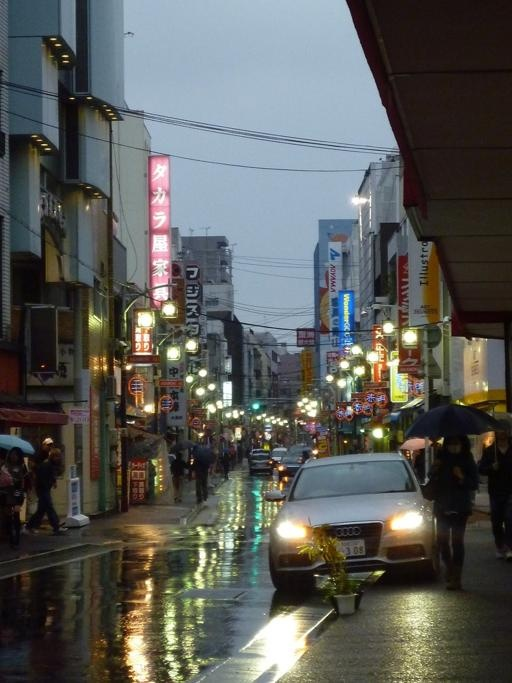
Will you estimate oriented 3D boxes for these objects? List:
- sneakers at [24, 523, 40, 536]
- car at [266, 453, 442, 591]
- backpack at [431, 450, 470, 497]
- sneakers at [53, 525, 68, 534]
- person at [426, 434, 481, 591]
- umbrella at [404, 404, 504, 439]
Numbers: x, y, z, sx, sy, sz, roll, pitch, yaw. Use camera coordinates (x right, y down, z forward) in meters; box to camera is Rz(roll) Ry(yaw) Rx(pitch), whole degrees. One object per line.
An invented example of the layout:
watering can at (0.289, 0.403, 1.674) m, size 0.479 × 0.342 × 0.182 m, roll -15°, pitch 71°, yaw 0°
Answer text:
sneakers at (-4.788, 3.984, 22.299) m, size 0.271 × 0.239 × 0.655 m, roll 14°, pitch -12°, yaw -16°
car at (1.101, 2.011, 11.398) m, size 1.544 × 1.297 × 3.392 m, roll -5°, pitch -9°, yaw 7°
backpack at (1.994, 1.364, 10.828) m, size 0.404 × 0.575 × 0.385 m, roll 1°, pitch -36°, yaw 4°
sneakers at (-4.107, 3.968, 21.876) m, size 0.127 × 0.182 × 0.410 m, roll 2°, pitch 8°, yaw 9°
person at (2.036, 1.772, 10.833) m, size 0.546 × 1.563 × 0.854 m, roll -3°, pitch -5°, yaw 11°
umbrella at (2.076, 0.891, 11.286) m, size 0.545 × 0.216 × 0.555 m, roll -13°, pitch -3°, yaw -21°
